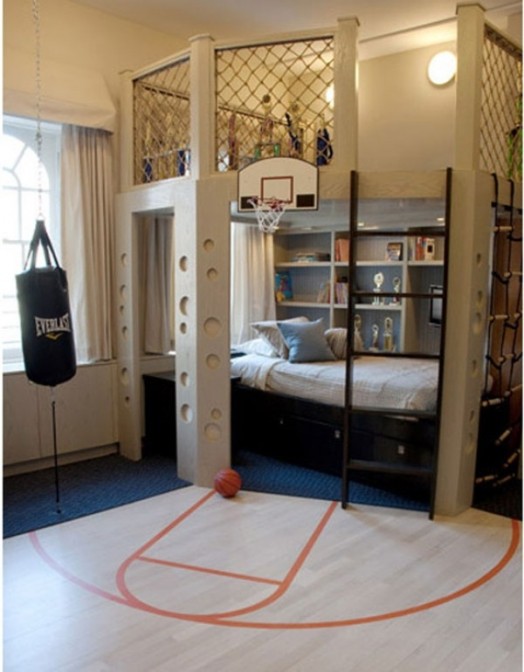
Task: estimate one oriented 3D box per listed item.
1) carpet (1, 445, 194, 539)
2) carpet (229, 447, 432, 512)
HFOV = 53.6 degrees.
[{"bbox_3d":[-1.209,1.039,3.644,1.250,0.043,1.004,-3,5,-38],"label":"carpet"},{"bbox_3d":[0.283,1.052,3.640,1.636,0.023,0.657,4,5,41],"label":"carpet"}]
